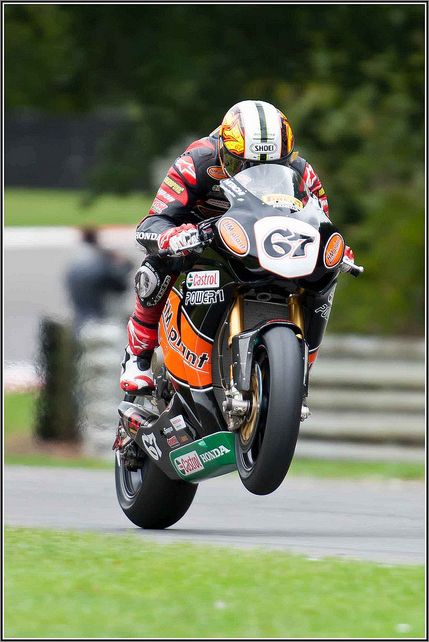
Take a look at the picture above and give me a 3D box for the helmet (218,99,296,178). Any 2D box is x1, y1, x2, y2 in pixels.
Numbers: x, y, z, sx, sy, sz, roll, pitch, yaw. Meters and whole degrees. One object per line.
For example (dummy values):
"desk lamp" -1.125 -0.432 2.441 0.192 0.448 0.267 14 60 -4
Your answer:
"helmet" 0.173 -0.757 3.276 0.337 0.320 0.339 4 47 -4

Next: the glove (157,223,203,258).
"glove" -0.140 -0.313 3.077 0.131 0.080 0.173 -32 8 -15

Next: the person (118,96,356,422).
"person" 0.066 -0.332 3.705 1.134 1.390 0.864 -4 18 -16

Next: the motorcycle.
"motorcycle" 0.053 0.273 3.290 0.662 1.863 1.334 -2 13 -15
